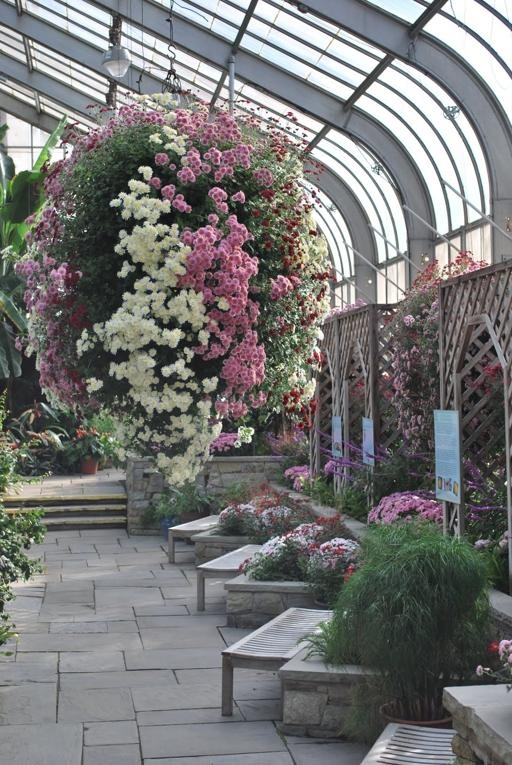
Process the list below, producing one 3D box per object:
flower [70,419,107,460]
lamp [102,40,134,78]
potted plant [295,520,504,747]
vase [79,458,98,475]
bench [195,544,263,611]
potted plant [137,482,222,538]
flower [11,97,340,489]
[{"bbox_3d":[-2.318,0.789,13.035,0.605,0.536,0.580,0,-6,-5],"label":"flower"},{"bbox_3d":[-1.320,-3.066,8.916,0.248,0.202,0.430,1,0,-10],"label":"lamp"},{"bbox_3d":[0.627,1.126,4.114,0.554,0.902,0.696,2,-1,-34],"label":"potted plant"},{"bbox_3d":[-2.336,1.174,13.248,0.252,0.174,0.252,-4,-4,40],"label":"vase"},{"bbox_3d":[-0.202,1.372,6.837,0.445,0.472,1.501,1,0,0],"label":"bench"},{"bbox_3d":[-0.793,1.273,9.658,0.656,0.429,0.646,-1,-11,-2],"label":"potted plant"},{"bbox_3d":[-0.335,-0.299,3.593,1.220,1.577,1.326,0,-1,23],"label":"flower"}]
